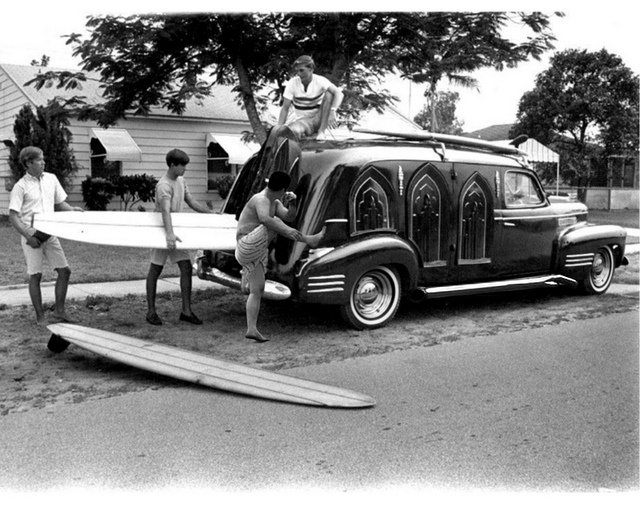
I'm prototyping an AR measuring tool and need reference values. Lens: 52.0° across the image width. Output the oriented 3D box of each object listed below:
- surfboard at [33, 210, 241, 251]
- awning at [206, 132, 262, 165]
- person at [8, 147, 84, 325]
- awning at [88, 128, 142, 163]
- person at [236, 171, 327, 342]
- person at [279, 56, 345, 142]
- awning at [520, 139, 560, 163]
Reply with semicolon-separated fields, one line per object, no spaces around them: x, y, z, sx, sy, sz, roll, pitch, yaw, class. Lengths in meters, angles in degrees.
-2.264;-0.340;8.268;1.844;0.484;0.204;5;-32;-5;surfboard
-2.740;-3.518;21.008;1.276;1.044;1.935;-3;6;-26;awning
-3.313;-0.244;7.923;0.673;2.113;0.861;-1;5;-14;person
-5.997;-3.298;19.213;1.179;0.987;1.195;-4;17;-41;awning
-0.538;0.001;7.551;0.870;1.943;0.758;-2;6;-24;person
-0.126;-2.092;8.771;0.826;1.279;0.835;-5;4;28;person
7.528;-3.641;22.412;1.117;0.789;1.067;0;5;2;awning
